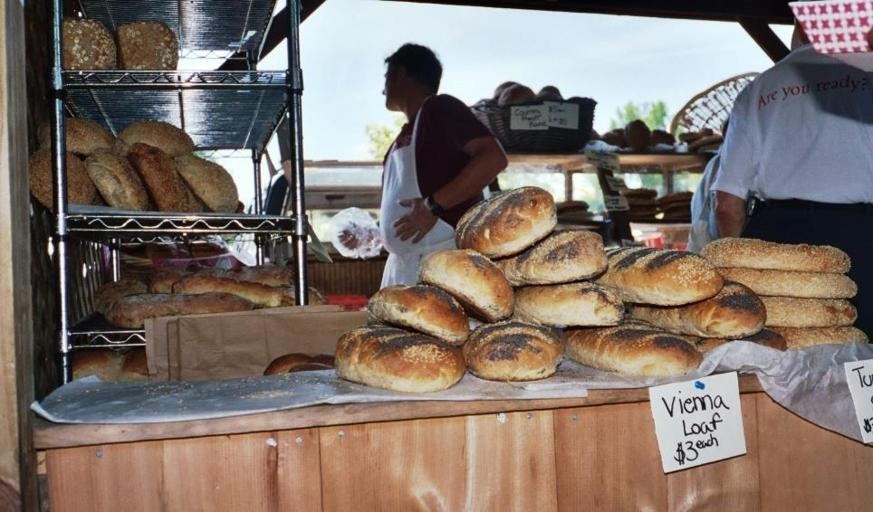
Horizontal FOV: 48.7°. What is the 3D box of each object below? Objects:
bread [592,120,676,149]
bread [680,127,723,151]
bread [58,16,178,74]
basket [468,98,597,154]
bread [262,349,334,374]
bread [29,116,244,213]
[{"bbox_3d":[1.458,-0.880,7.080,0.592,0.226,0.564,-3,6,12],"label":"bread"},{"bbox_3d":[1.963,-0.852,7.113,0.308,0.113,0.325,-1,-13,0],"label":"bread"},{"bbox_3d":[-1.409,-0.932,4.284,0.217,0.240,0.517,0,8,40],"label":"bread"},{"bbox_3d":[0.679,-0.865,6.522,0.566,0.222,0.500,0,5,24],"label":"basket"},{"bbox_3d":[-0.520,0.417,3.711,0.268,0.054,0.269,-8,7,-27],"label":"bread"},{"bbox_3d":[-1.258,-0.394,4.255,0.712,0.468,0.452,-6,6,-13],"label":"bread"}]
